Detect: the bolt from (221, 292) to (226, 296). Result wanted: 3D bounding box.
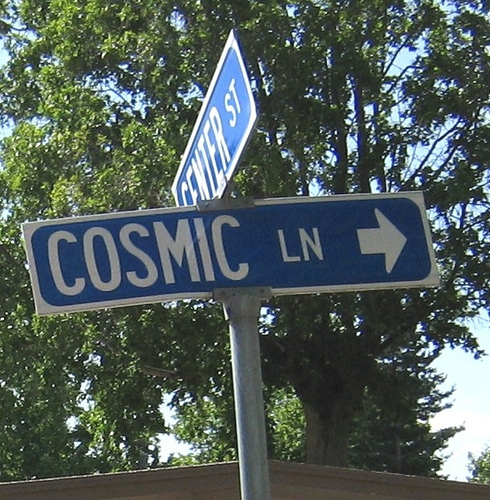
[{"bbox_3d":[-0.190,0.405,9.855,0.040,0.033,0.003,-4,-16,-3],"label":"bolt"}]

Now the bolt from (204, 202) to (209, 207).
[{"bbox_3d":[-0.346,-0.419,9.944,0.037,0.032,0.005,-1,-15,-1],"label":"bolt"}]
